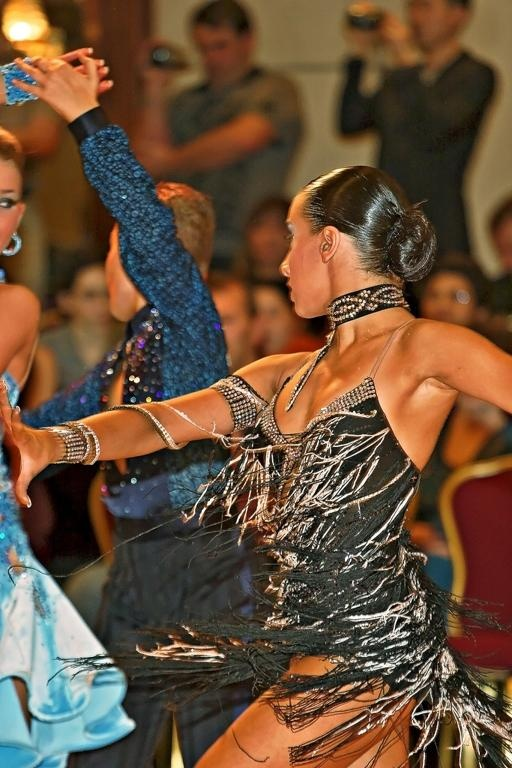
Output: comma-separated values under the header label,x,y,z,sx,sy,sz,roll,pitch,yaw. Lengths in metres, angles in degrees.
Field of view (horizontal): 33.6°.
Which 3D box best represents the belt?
label,x,y,z,sx,sy,sz,roll,pitch,yaw
belt,-0.204,0.293,1.949,0.241,0.066,0.158,9,-6,-17
